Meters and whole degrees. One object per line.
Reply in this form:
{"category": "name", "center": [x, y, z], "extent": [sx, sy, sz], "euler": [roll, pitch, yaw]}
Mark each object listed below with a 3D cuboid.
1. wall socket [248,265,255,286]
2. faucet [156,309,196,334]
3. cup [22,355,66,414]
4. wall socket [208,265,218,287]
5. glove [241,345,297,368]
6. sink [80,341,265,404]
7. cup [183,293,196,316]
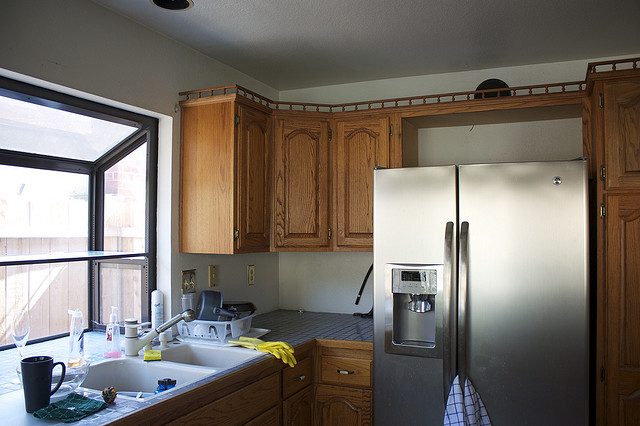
{"category": "wall socket", "center": [-0.569, 0.509, 3.629], "extent": [0.022, 0.168, 0.087], "euler": [3, 3, 24]}
{"category": "faucet", "center": [-0.937, 0.703, 2.846], "extent": [0.301, 0.084, 0.085], "euler": [-30, -9, 4]}
{"category": "cup", "center": [-1.280, 0.785, 2.039], "extent": [0.202, 0.182, 0.129], "euler": [1, -12, -30]}
{"category": "wall socket", "center": [-0.799, 0.465, 3.263], "extent": [0.025, 0.164, 0.093], "euler": [3, 3, 24]}
{"category": "glove", "center": [-0.292, 0.872, 2.717], "extent": [0.289, 0.065, 0.094], "euler": [4, -6, 31]}
{"category": "sink", "center": [-0.924, 0.903, 2.605], "extent": [0.488, 0.123, 0.488], "euler": [-4, -4, 36]}
{"category": "cup", "center": [-0.902, 0.611, 3.061], "extent": [0.073, 0.114, 0.121], "euler": [3, 3, 23]}
